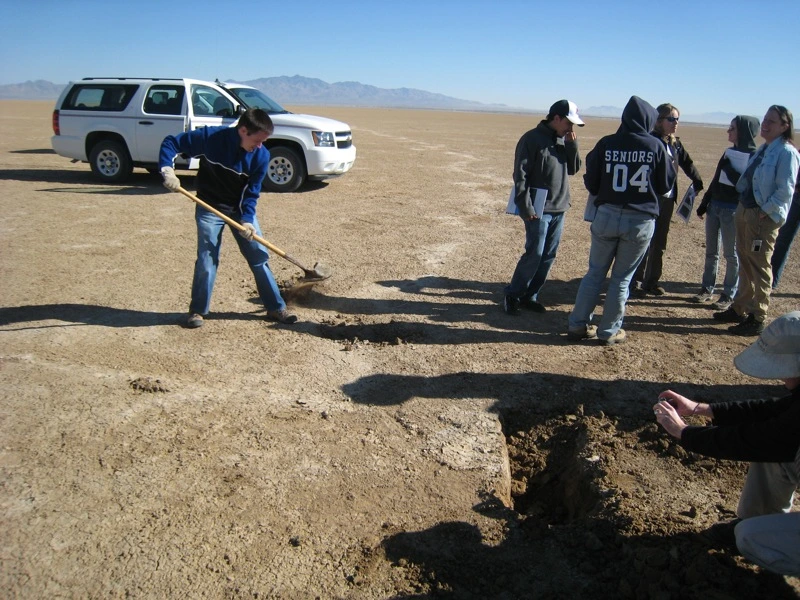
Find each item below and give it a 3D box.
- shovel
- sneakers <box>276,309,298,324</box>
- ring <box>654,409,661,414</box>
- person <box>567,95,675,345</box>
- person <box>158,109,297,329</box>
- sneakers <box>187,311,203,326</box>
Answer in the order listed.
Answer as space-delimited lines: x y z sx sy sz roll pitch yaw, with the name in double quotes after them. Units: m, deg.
-1.938 -0.842 7.816 2.905 0.312 0.961 28 0 -35 "shovel"
-1.238 0.196 6.340 0.277 0.114 0.106 3 12 20 "sneakers"
1.615 0.698 3.646 0.032 0.007 0.030 -2 9 0 "ring"
2.195 -0.755 5.881 0.804 2.440 0.549 10 21 18 "person"
-1.790 -0.845 6.079 1.238 2.206 0.591 -2 20 -16 "person"
-2.145 0.205 6.110 0.138 0.074 0.221 0 5 -26 "sneakers"
